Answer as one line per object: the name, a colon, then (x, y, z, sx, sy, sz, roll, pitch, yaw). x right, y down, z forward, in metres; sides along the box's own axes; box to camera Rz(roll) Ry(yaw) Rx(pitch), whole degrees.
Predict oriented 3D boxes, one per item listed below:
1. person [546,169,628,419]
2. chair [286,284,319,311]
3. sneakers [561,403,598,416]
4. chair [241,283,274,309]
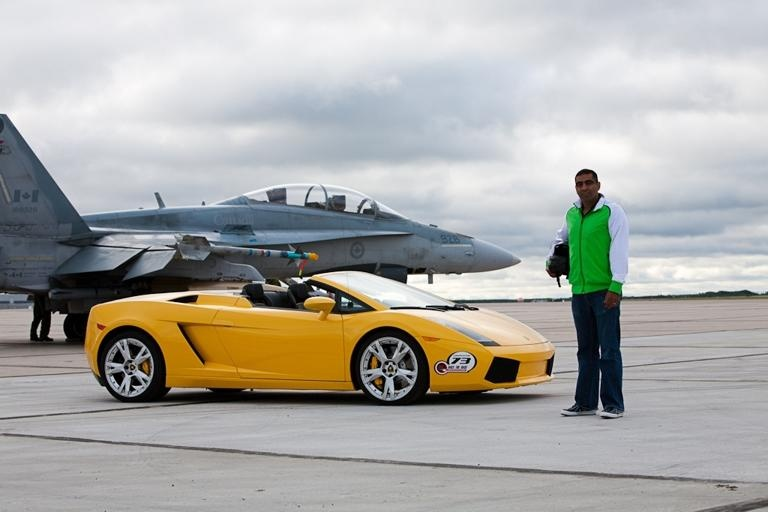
person: (2.197, 0.378, 7.771, 0.600, 2.603, 0.838, 0, -5, -26)
chair: (-1.122, 0.554, 9.861, 0.380, 0.316, 0.462, 8, -7, -27)
sneakers: (2.041, 1.624, 7.615, 0.429, 0.113, 0.134, 6, -12, -24)
chair: (-1.638, 0.507, 9.319, 0.395, 0.313, 0.329, 7, 8, 44)
